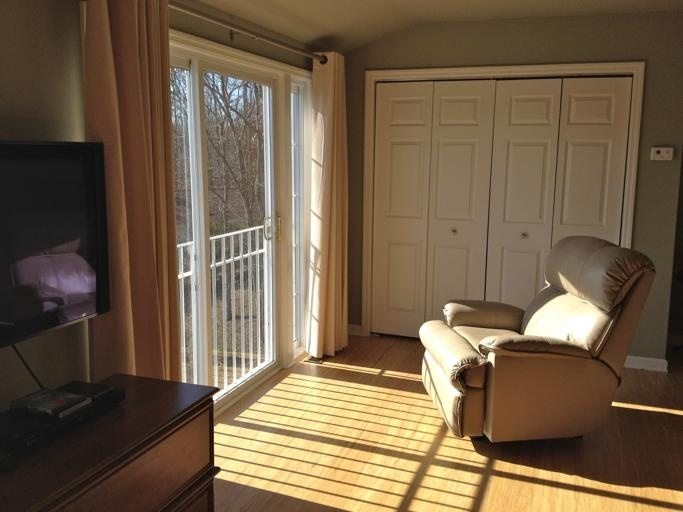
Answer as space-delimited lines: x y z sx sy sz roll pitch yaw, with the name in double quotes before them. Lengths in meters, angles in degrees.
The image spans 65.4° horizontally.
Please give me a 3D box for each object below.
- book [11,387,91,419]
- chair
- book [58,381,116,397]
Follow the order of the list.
"book" -1.157 0.588 2.111 0.131 0.033 0.139 8 7 19
"chair" 1.251 0.490 3.603 1.351 1.125 1.288 -6 7 -18
"book" -1.081 0.571 2.272 0.099 0.026 0.106 4 3 24
